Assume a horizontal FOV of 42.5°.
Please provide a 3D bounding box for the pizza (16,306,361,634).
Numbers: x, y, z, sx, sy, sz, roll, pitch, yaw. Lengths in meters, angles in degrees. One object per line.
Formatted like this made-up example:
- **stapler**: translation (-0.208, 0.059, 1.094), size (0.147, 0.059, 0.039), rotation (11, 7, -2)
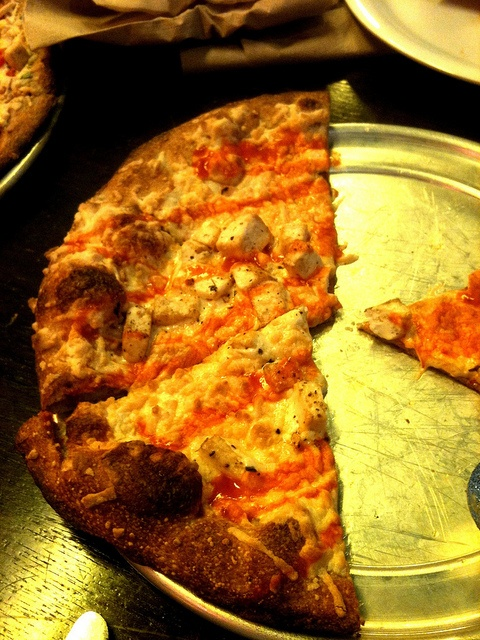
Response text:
- **pizza**: translation (-0.043, 0.456, 1.681), size (0.914, 0.164, 0.874), rotation (-25, 60, -11)
